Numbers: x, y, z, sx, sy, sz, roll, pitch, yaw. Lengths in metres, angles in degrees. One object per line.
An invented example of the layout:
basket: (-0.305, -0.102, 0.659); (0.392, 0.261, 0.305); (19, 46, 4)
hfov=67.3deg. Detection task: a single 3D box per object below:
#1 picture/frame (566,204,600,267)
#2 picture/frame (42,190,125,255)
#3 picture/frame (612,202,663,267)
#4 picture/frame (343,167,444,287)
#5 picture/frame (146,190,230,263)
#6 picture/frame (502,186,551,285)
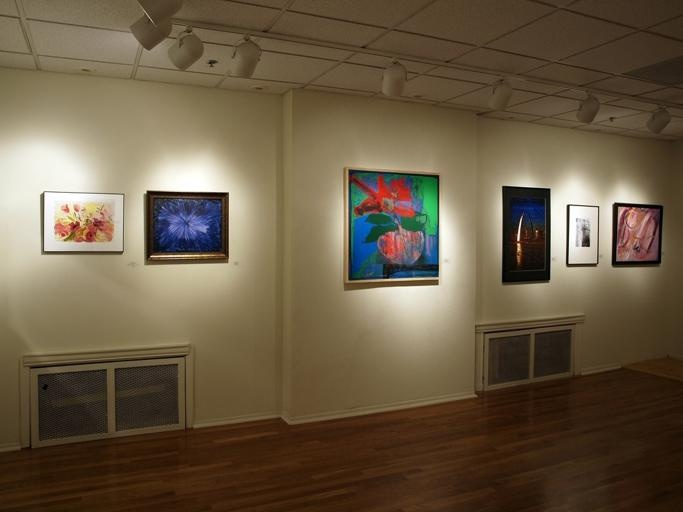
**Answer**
picture/frame: (3.853, -0.326, 8.208); (0.862, 1.343, 0.045); (-3, 4, -25)
picture/frame: (-2.873, -0.365, 5.611); (0.644, 0.596, 0.023); (-2, 6, -21)
picture/frame: (5.003, -0.358, 8.712); (0.933, 1.030, 0.067); (-7, 6, -25)
picture/frame: (0.611, -0.359, 6.574); (1.421, 1.571, 0.103); (-1, 2, -24)
picture/frame: (-1.833, -0.340, 5.950); (0.775, 0.732, 0.092); (-1, 4, -20)
picture/frame: (2.796, -0.319, 7.720); (0.919, 1.426, 0.084); (-1, 4, -23)
